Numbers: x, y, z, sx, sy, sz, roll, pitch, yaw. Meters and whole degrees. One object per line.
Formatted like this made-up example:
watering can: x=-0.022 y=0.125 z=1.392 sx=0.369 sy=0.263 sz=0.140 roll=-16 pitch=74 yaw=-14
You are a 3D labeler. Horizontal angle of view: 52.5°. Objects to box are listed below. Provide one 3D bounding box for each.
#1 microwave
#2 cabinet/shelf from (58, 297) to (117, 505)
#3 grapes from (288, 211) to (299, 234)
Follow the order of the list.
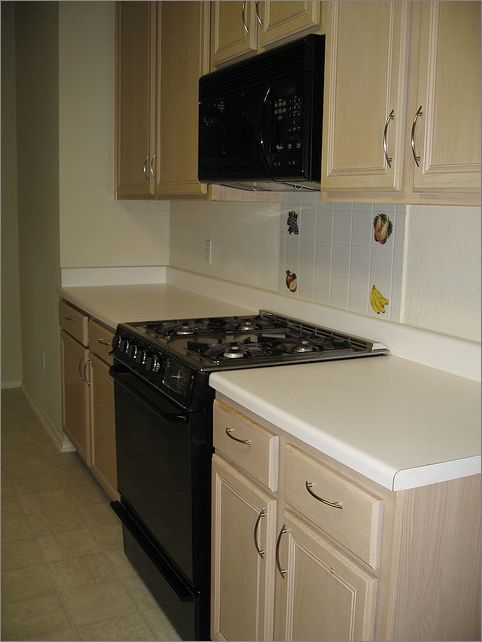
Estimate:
microwave: x=-0.013 y=-0.574 z=1.548 sx=0.493 sy=0.404 sz=0.200 roll=-1 pitch=-5 yaw=20
cabinet/shelf: x=-0.738 y=0.381 z=2.365 sx=0.277 sy=0.775 sz=0.743 roll=-2 pitch=12 yaw=-24
grapes: x=0.207 y=-0.391 z=1.948 sx=0.026 sy=0.074 sz=0.097 roll=-2 pitch=26 yaw=-6
